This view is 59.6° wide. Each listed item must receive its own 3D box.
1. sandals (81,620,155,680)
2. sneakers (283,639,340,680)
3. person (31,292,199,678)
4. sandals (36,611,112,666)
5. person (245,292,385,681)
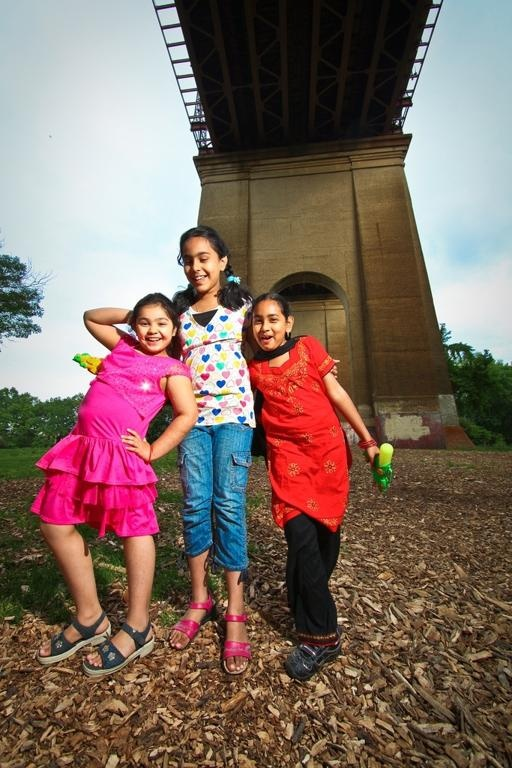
[{"bbox_3d":[-0.535,1.090,1.875,0.115,0.142,0.295,-4,-9,41],"label":"sandals"},{"bbox_3d":[0.248,1.148,1.938,0.236,0.108,0.092,7,25,-49],"label":"sneakers"},{"bbox_3d":[-0.578,0.367,1.919,0.627,1.303,0.402,2,-1,-26],"label":"person"},{"bbox_3d":[-0.761,1.068,1.940,0.285,0.126,0.111,-8,-4,-34],"label":"sandals"},{"bbox_3d":[0.274,0.376,2.208,0.473,1.709,0.648,2,-1,-22],"label":"person"}]
